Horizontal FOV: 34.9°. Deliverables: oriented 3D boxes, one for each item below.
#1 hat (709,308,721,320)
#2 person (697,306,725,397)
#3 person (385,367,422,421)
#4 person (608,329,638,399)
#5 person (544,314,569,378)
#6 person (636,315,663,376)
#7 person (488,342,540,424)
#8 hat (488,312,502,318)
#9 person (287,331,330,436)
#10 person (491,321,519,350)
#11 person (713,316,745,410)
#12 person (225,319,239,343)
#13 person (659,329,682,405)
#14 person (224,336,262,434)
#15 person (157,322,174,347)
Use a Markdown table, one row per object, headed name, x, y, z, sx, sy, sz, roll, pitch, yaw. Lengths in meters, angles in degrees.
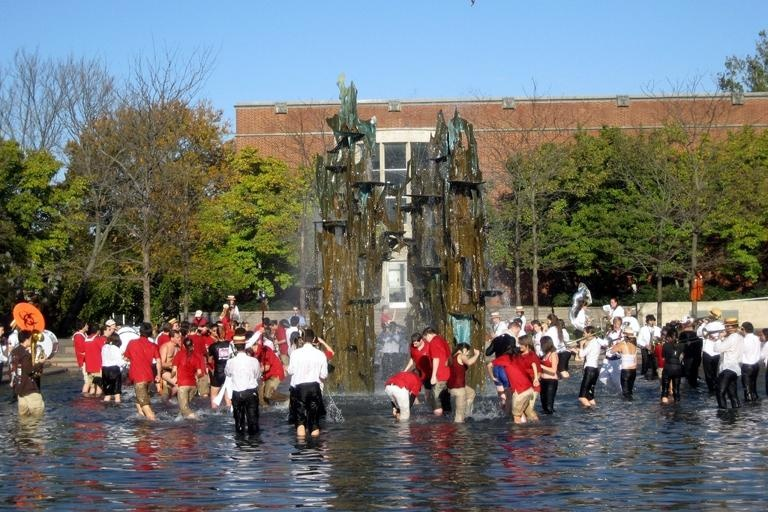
| name | x | y | z | sx | sy | sz | roll | pitch | yaw |
| --- | --- | --- | --- | --- | --- | --- | --- | --- | --- |
| hat | 12.030 | 2.063 | 44.169 | 0.498 | 0.407 | 0.390 | 11 | 18 | 19 |
| person | 11.772 | 3.229 | 44.064 | 0.935 | 2.960 | 0.866 | -16 | 30 | -28 |
| person | 0.677 | 4.367 | 39.604 | 0.721 | 2.140 | 0.899 | 4 | 6 | 14 |
| person | 8.409 | 3.719 | 42.581 | 0.800 | 2.442 | 1.577 | -3 | -1 | 10 |
| person | 6.068 | 3.331 | 42.911 | 0.941 | 2.623 | 0.938 | -4 | -6 | -9 |
| person | 10.395 | 3.491 | 47.695 | 0.914 | 2.529 | 0.839 | -11 | 23 | -17 |
| person | 4.155 | 4.047 | 39.155 | 1.377 | 2.407 | 1.050 | -3 | -1 | 40 |
| hat | 4.021 | 2.059 | 43.098 | 0.458 | 0.161 | 0.453 | 4 | -11 | -41 |
| person | -2.329 | 3.871 | 37.397 | 1.161 | 2.991 | 0.824 | -2 | -1 | -1 |
| person | 4.274 | 2.559 | 40.678 | 0.629 | 0.734 | 0.308 | 20 | 0 | 37 |
| person | 11.595 | 3.578 | 40.942 | 0.913 | 3.017 | 0.602 | -2 | -1 | -1 |
| person | -5.507 | 2.569 | 43.992 | 0.763 | 0.583 | 1.114 | -1 | -18 | -9 |
| person | 9.941 | 3.718 | 42.215 | 0.732 | 2.668 | 1.273 | -3 | -1 | 13 |
| person | -4.334 | 3.906 | 37.553 | 0.989 | 2.751 | 1.001 | -2 | -1 | -13 |
| person | -7.459 | 2.685 | 41.792 | 0.426 | 1.032 | 0.332 | 26 | 4 | 34 |
